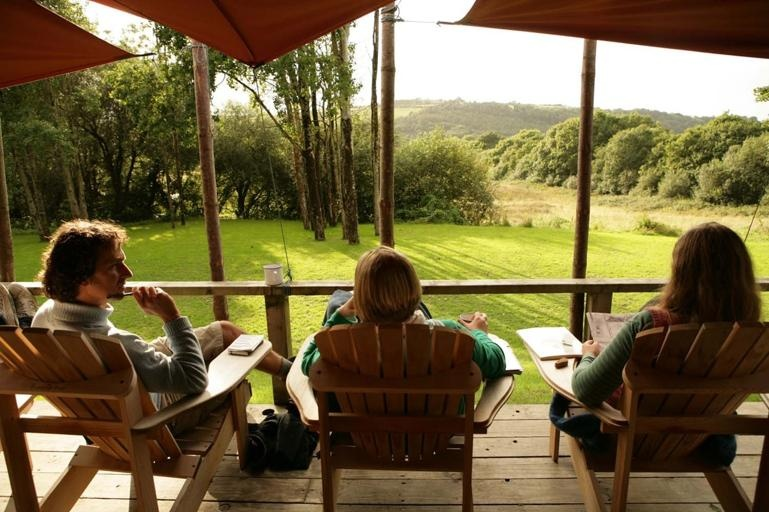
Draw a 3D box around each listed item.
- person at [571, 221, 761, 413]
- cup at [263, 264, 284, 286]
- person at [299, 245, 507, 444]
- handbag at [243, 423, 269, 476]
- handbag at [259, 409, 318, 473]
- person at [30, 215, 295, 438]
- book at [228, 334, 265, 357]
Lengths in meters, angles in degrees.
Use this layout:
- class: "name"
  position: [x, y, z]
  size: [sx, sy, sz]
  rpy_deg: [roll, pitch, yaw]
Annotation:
- class: "person"
  position: [1.613, 0.355, 3.391]
  size: [1.048, 1.064, 0.314]
  rpy_deg: [-1, 11, 2]
- class: "cup"
  position: [-0.856, 0.149, 4.678]
  size: [0.165, 0.154, 0.154]
  rpy_deg: [-1, 5, 0]
- class: "person"
  position: [0.133, 0.401, 3.645]
  size: [0.972, 1.062, 1.179]
  rpy_deg: [1, 17, 4]
- class: "handbag"
  position: [-0.897, 1.361, 4.167]
  size: [0.107, 0.131, 0.328]
  rpy_deg: [6, 21, -14]
- class: "handbag"
  position: [-0.662, 1.298, 4.168]
  size: [0.416, 0.215, 0.497]
  rpy_deg: [9, 42, -16]
- class: "person"
  position: [-1.452, 0.438, 4.245]
  size: [1.185, 1.245, 1.895]
  rpy_deg: [9, 10, 29]
- class: "book"
  position: [-0.926, 0.588, 3.937]
  size: [0.158, 0.036, 0.148]
  rpy_deg: [5, 28, 18]
